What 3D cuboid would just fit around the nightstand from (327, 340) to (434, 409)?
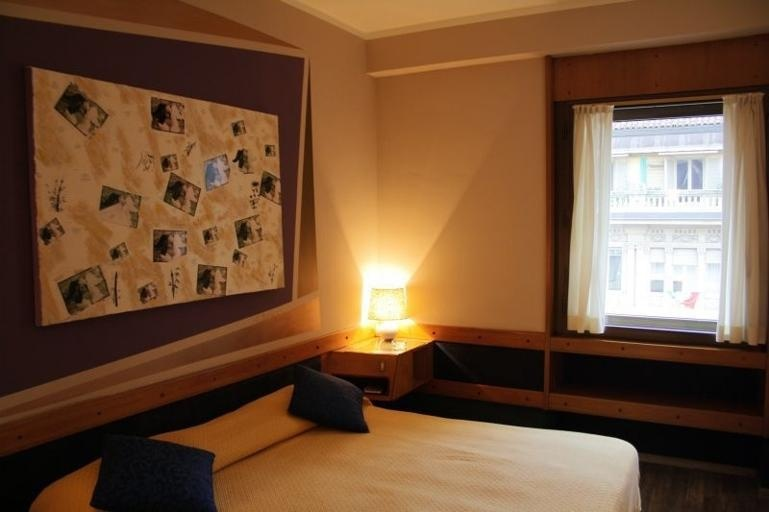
[{"bbox_3d":[-0.084,0.935,4.965,0.496,0.336,0.756,1,2,24],"label":"nightstand"}]
